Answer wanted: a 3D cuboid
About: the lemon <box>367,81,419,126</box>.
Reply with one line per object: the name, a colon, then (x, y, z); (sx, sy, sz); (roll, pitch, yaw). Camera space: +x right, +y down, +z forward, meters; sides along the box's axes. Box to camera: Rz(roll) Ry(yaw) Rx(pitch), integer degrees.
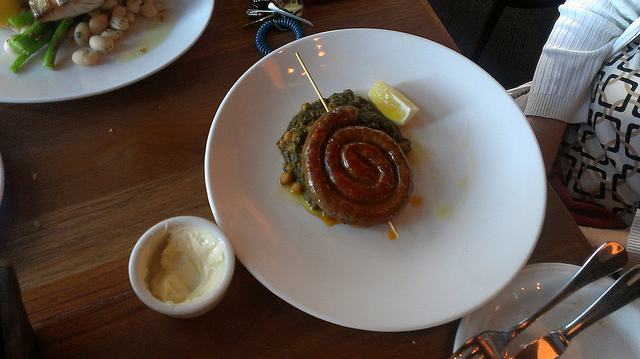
lemon: (0.489, -0.510, 3.050); (0.355, 0.088, 0.209); (35, 82, 9)
